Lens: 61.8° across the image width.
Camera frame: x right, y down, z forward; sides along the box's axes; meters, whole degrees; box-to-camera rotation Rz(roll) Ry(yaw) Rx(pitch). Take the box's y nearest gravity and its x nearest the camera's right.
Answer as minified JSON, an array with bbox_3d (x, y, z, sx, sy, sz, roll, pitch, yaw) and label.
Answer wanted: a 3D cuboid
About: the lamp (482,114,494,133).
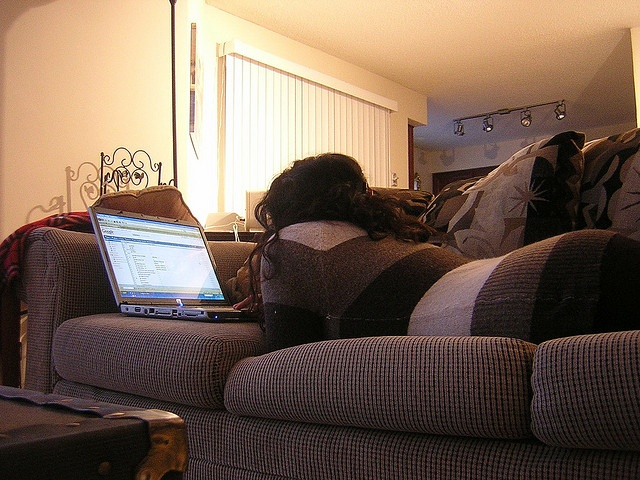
[{"bbox_3d":[2.391,-1.680,7.633,0.120,0.261,0.144,-9,-27,30],"label":"lamp"}]

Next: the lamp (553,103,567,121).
[{"bbox_3d":[3.182,-1.715,7.097,0.177,0.226,0.060,1,-18,11],"label":"lamp"}]

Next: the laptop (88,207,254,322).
[{"bbox_3d":[-0.363,0.077,1.677,0.591,0.308,0.564,6,-5,-42],"label":"laptop"}]

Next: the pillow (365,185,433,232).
[{"bbox_3d":[0.267,-0.123,1.753,0.205,0.061,0.191,13,-2,11],"label":"pillow"}]
